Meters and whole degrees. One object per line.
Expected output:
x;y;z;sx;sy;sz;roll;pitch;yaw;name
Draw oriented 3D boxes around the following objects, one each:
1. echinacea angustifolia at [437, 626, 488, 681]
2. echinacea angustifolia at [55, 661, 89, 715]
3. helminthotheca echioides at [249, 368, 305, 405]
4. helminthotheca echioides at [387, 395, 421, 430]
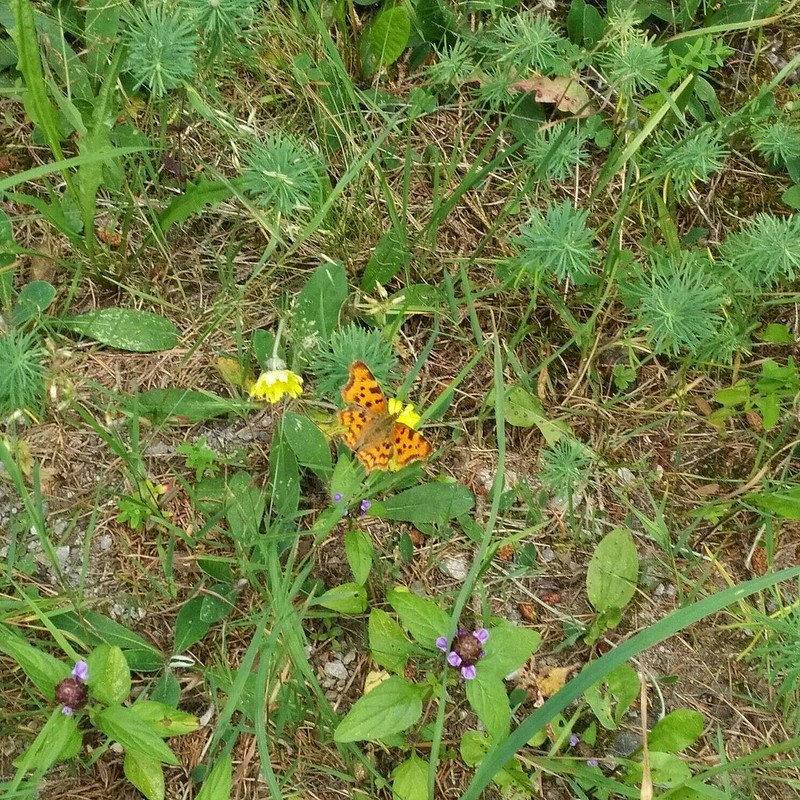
0.178;0.660;2.190;0.089;0.132;0.135;25;66;10;echinacea angustifolia
-0.817;0.727;2.091;0.066;0.062;0.135;21;53;-12;echinacea angustifolia
-0.366;-0.042;2.512;0.116;0.054;0.127;-3;87;-11;helminthotheca echioides
0.012;0.032;2.412;0.080;0.087;0.038;45;107;10;helminthotheca echioides
